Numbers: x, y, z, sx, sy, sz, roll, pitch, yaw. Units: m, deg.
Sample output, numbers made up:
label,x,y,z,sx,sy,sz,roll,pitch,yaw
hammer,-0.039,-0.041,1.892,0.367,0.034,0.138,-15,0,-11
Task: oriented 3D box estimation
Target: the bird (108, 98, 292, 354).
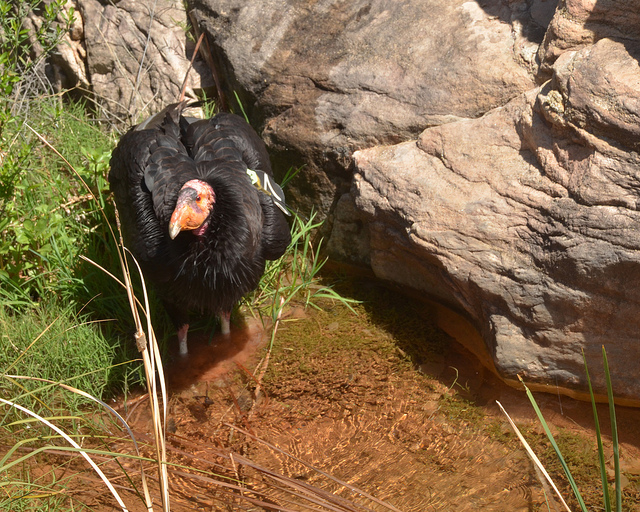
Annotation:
label,x,y,z,sx,sy,sz,roll,pitch,yaw
bird,-0.953,-0.223,5.521,1.075,1.471,2.282,-3,54,-14
